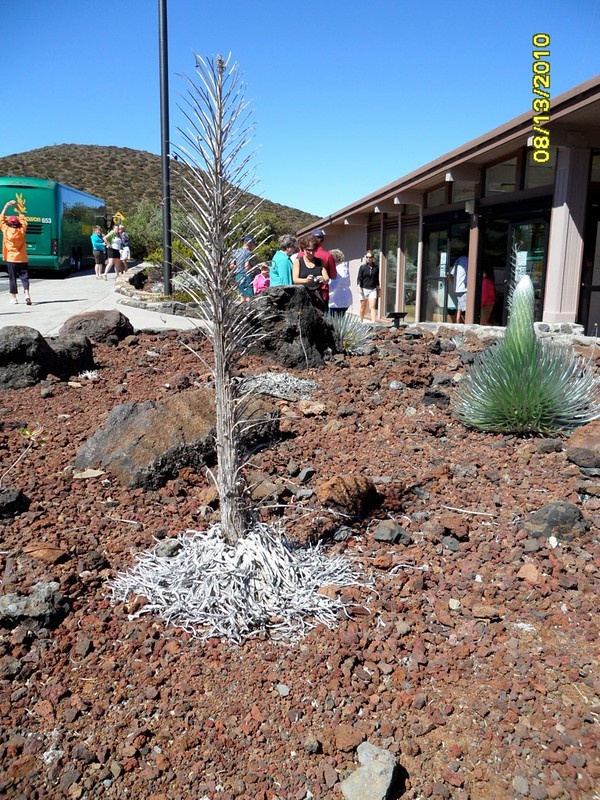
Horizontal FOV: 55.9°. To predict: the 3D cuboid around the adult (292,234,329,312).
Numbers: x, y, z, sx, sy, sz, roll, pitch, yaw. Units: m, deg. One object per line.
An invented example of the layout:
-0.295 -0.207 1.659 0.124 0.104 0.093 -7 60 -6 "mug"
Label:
0.128 -1.614 7.205 0.465 0.900 0.622 0 12 -1 "adult"
